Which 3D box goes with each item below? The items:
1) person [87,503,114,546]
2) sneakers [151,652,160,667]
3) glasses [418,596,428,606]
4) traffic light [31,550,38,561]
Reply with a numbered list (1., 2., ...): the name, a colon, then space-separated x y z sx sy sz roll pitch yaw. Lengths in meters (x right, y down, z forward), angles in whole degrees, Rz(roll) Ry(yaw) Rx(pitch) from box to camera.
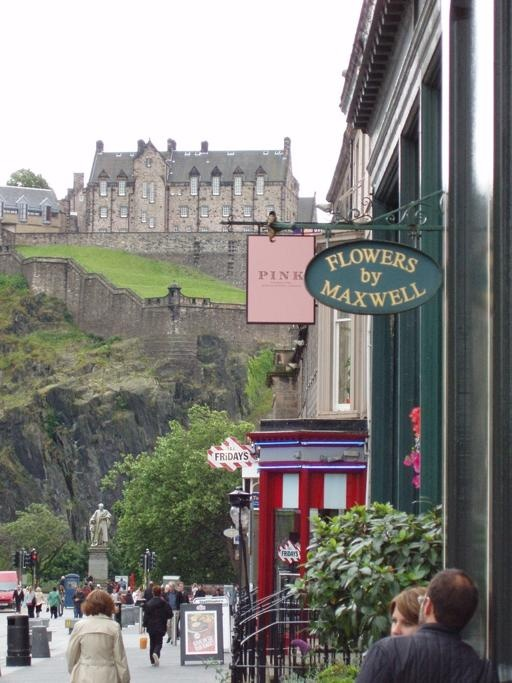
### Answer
1. person: -3.562 4.150 47.656 0.407 0.980 1.421 -1 -8 -4
2. sneakers: -1.148 3.551 23.590 0.053 0.181 0.068 -9 -2 38
3. glasses: 0.975 1.536 12.538 0.024 0.070 0.040 19 -24 -28
4. traffic light: -4.851 4.643 45.727 0.194 0.243 0.391 0 -1 -7
